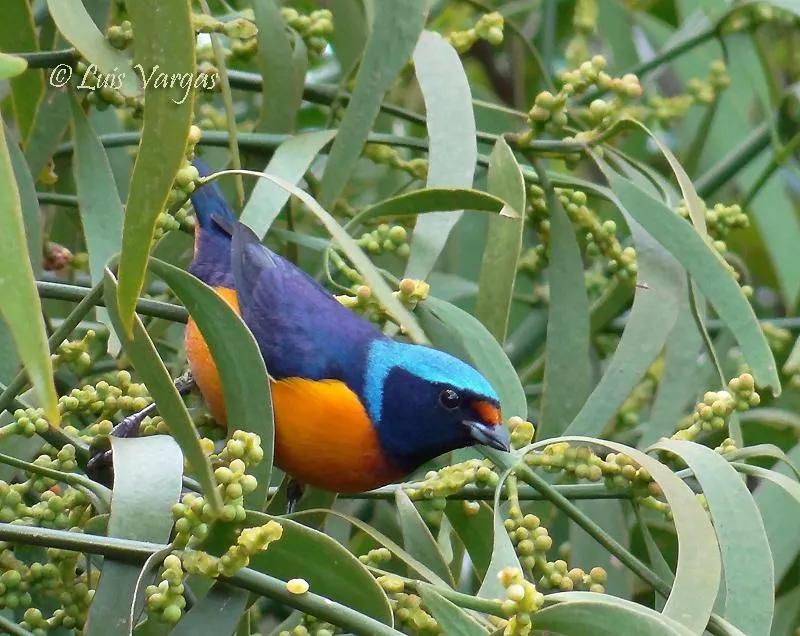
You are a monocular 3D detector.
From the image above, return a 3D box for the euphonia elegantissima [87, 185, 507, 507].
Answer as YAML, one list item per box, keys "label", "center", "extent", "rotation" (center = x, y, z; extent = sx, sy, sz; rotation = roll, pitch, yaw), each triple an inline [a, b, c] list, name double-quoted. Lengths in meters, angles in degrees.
- label: "euphonia elegantissima"
  center: [-0.180, 0.105, 2.669]
  extent: [0.876, 0.364, 0.459]
  rotation: [45, 0, 24]
